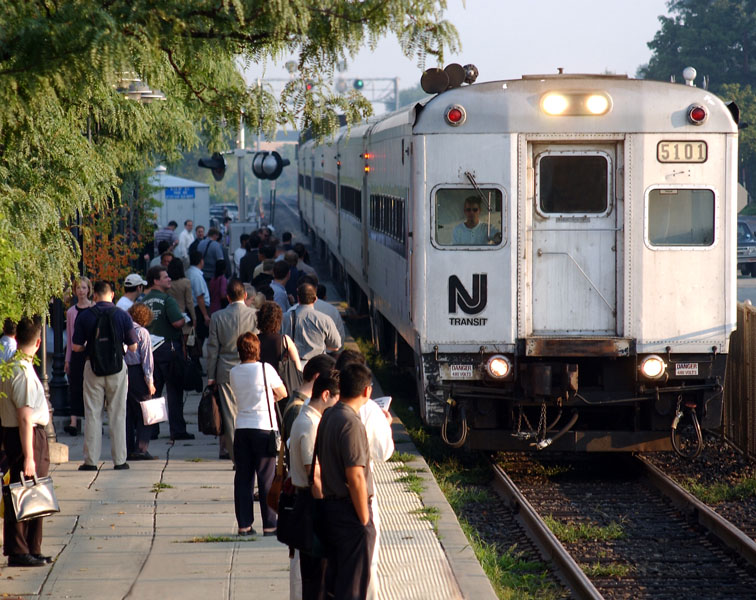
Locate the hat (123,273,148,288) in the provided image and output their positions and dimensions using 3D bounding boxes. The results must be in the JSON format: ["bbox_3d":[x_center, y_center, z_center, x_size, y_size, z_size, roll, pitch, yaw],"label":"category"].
[{"bbox_3d":[-2.723,-0.221,13.599,0.200,0.149,0.278,3,3,39],"label":"hat"}]

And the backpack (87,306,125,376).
[{"bbox_3d":[-2.787,0.452,12.517,0.366,0.650,0.336,4,5,-4],"label":"backpack"}]

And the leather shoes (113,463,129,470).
[{"bbox_3d":[-2.729,1.737,12.794,0.167,0.079,0.057,0,2,-29],"label":"leather shoes"}]

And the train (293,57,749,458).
[{"bbox_3d":[1.547,-0.527,13.846,3.075,4.236,8.690,0,9,-15],"label":"train"}]

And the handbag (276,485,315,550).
[{"bbox_3d":[-0.571,1.486,8.433,0.255,0.467,0.465,0,0,-21],"label":"handbag"}]

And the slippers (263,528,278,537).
[{"bbox_3d":[-0.960,2.015,10.635,0.137,0.059,0.048,-2,7,-9],"label":"slippers"}]

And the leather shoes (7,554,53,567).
[{"bbox_3d":[-2.894,2.085,9.977,0.321,0.143,0.111,-1,8,-11],"label":"leather shoes"}]

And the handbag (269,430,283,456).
[{"bbox_3d":[-0.867,1.169,10.089,0.087,0.203,0.258,-2,4,-6],"label":"handbag"}]
